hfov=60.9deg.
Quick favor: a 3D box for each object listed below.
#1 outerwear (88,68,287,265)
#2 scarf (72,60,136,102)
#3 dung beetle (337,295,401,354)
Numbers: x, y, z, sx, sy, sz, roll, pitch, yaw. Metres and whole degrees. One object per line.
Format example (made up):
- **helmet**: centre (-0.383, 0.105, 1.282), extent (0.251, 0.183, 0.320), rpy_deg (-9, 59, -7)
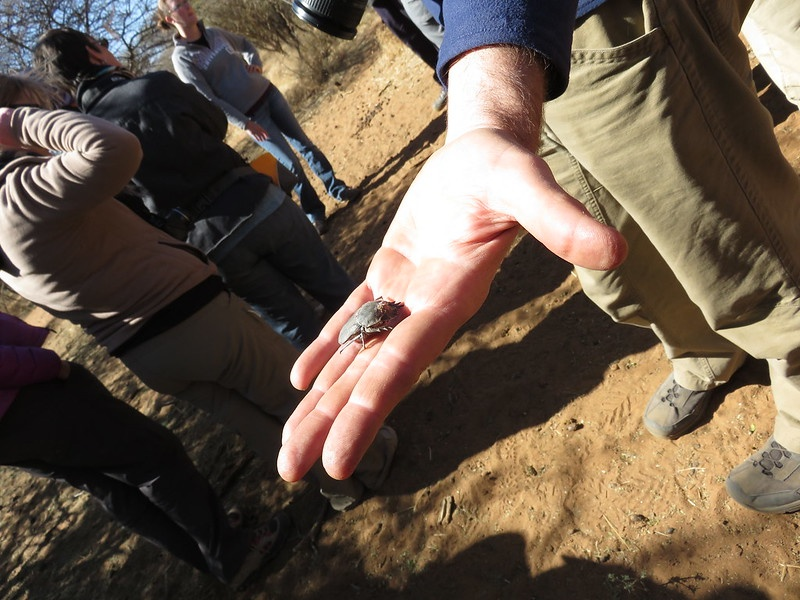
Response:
- **outerwear**: centre (-1.404, -0.936, 4.513), extent (0.938, 1.359, 0.448), rpy_deg (-46, 25, -15)
- **scarf**: centre (-1.974, -1.441, 4.525), extent (0.349, 0.156, 0.273), rpy_deg (-45, 22, -10)
- **dung beetle**: centre (-0.155, 0.110, 3.365), extent (0.234, 0.080, 0.262), rpy_deg (-33, 33, 18)
